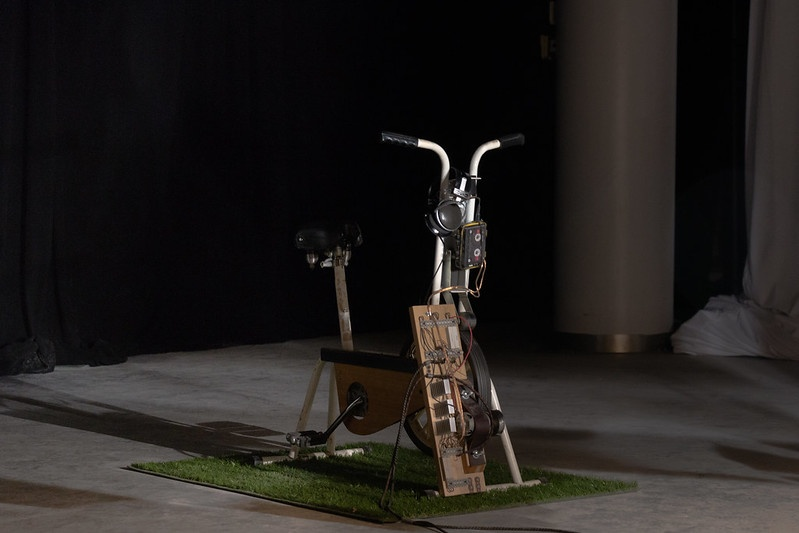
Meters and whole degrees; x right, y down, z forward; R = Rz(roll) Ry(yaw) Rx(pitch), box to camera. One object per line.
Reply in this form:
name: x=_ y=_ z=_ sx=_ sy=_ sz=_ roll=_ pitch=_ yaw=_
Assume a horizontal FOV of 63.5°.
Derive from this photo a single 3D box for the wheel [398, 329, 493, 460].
wheel: x=0.215 y=0.772 z=3.246 sx=0.383 sy=0.397 sz=0.117 roll=-5 pitch=37 yaw=-11
